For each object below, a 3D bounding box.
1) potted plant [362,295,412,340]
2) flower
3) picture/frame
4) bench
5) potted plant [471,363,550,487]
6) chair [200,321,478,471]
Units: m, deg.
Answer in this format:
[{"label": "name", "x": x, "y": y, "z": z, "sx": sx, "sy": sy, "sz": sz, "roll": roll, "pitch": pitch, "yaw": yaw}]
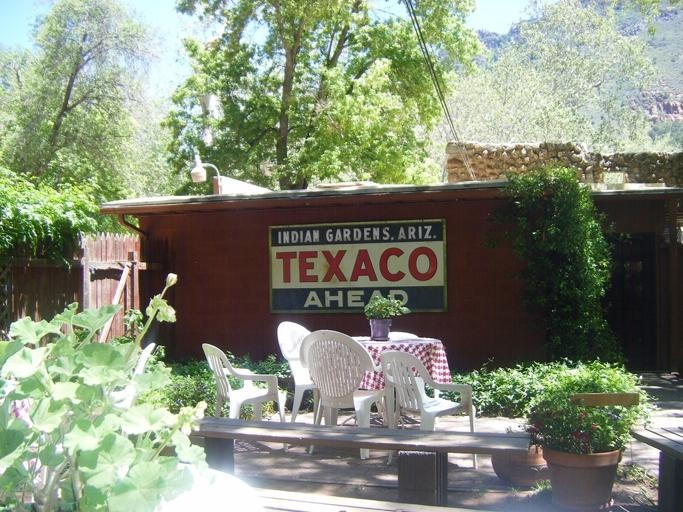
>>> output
[{"label": "potted plant", "x": 0.431, "y": 0.607, "z": 6.486, "sx": 0.480, "sy": 0.493, "sz": 0.497, "roll": -2, "pitch": -5, "yaw": 35}, {"label": "flower", "x": 1.661, "y": 1.064, "z": 4.379, "sx": 0.767, "sy": 0.601, "sz": 0.760, "roll": -1, "pitch": 6, "yaw": 7}, {"label": "picture/frame", "x": 0.193, "y": 0.160, "z": 8.749, "sx": 2.527, "sy": 1.257, "sz": 0.220, "roll": -1, "pitch": -6, "yaw": 16}, {"label": "bench", "x": 0.184, "y": 1.404, "z": 4.205, "sx": 2.129, "sy": 0.550, "sz": 1.214, "roll": -2, "pitch": -7, "yaw": 23}, {"label": "potted plant", "x": 1.654, "y": 1.603, "z": 6.237, "sx": 0.839, "sy": 1.068, "sz": 0.740, "roll": 1, "pitch": -15, "yaw": -2}, {"label": "chair", "x": 0.286, "y": 1.074, "z": 5.365, "sx": 1.162, "sy": 0.868, "sz": 1.155, "roll": 2, "pitch": -3, "yaw": -36}]
